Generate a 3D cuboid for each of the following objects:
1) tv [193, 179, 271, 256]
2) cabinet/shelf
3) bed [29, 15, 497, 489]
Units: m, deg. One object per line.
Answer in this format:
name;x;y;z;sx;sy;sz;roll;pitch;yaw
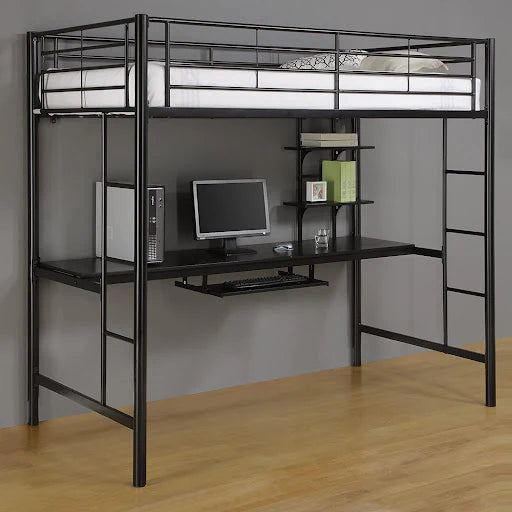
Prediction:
tv;-0.147;-0.219;3.264;0.373;0.371;0.169;-3;0;-35
cabinet/shelf;0.427;-0.510;3.698;0.637;0.957;0.226;-3;4;-31
bed;-0.025;-0.012;3.120;2.207;2.403;1.259;-3;3;-42
